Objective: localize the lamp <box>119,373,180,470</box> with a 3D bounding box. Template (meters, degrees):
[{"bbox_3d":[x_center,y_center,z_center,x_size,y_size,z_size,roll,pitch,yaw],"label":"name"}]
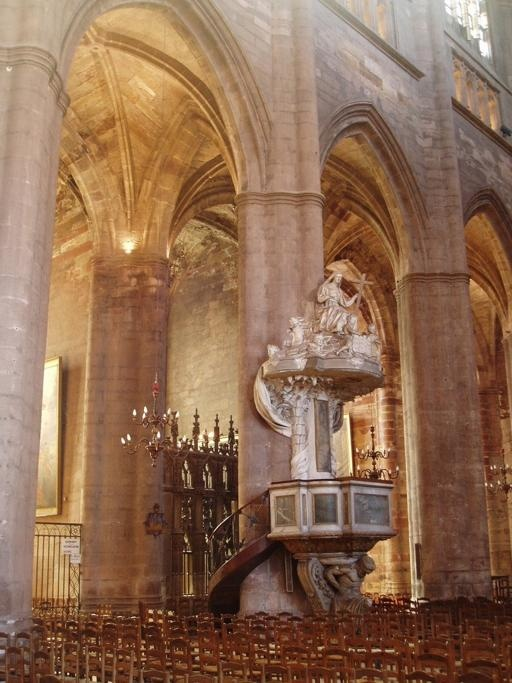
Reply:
[{"bbox_3d":[-1.792,1.429,13.551,0.950,1.412,0.866,2,9,1],"label":"lamp"}]

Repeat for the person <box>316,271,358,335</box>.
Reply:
[{"bbox_3d":[1.199,-0.560,11.130,0.629,1.197,0.647,-6,-20,8],"label":"person"}]

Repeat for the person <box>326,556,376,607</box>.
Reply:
[{"bbox_3d":[1.234,3.278,10.260,0.628,0.844,0.586,6,-4,-11],"label":"person"}]
